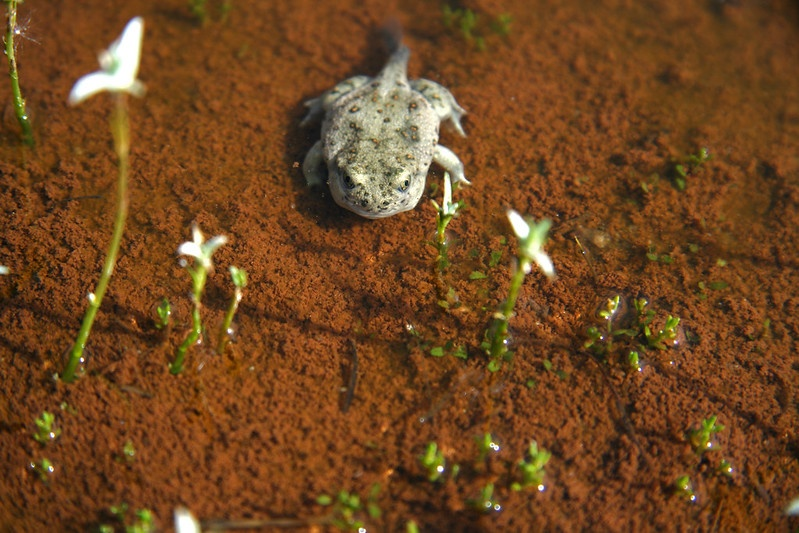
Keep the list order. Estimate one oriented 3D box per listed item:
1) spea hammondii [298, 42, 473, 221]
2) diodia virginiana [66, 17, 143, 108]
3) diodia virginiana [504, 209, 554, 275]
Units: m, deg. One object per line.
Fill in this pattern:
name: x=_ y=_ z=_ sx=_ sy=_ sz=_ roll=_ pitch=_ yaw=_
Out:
spea hammondii: x=-0.119 y=-1.568 z=8.670 sx=1.732 sy=0.735 sz=2.406 roll=8 pitch=62 yaw=7
diodia virginiana: x=-2.673 y=-1.828 z=6.789 sx=0.789 sy=0.219 sz=0.847 roll=13 pitch=90 yaw=-38
diodia virginiana: x=1.196 y=-0.081 z=6.772 sx=0.397 sy=0.809 sz=0.364 roll=-3 pitch=38 yaw=-5
